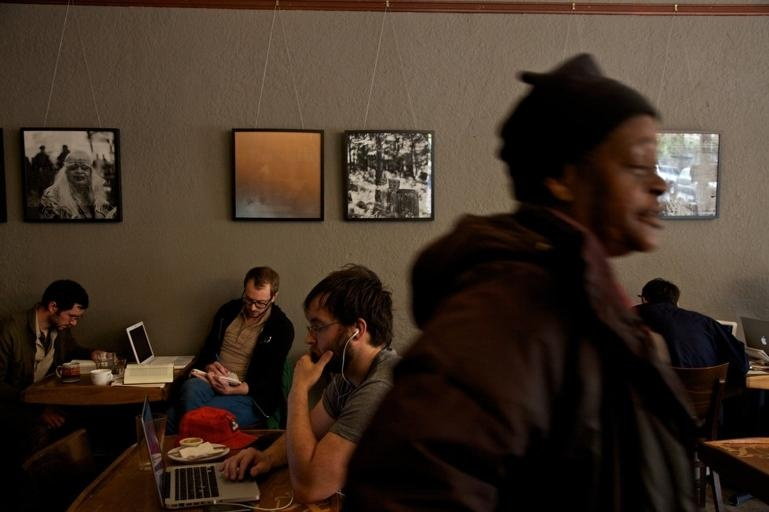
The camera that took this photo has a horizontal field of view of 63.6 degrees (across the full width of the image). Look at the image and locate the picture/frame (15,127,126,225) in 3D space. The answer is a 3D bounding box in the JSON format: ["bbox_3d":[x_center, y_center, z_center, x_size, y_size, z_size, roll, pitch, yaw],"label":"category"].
[{"bbox_3d":[-2.372,-0.607,4.598,0.759,0.715,0.060,-1,-1,-4],"label":"picture/frame"}]

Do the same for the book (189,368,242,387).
[{"bbox_3d":[-1.150,0.829,4.248,0.191,0.055,0.185,14,-4,-26],"label":"book"}]

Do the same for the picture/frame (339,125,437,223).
[{"bbox_3d":[0.004,-0.642,4.694,0.763,0.682,0.035,1,-2,-4],"label":"picture/frame"}]

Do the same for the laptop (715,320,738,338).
[{"bbox_3d":[2.376,0.506,4.314,0.196,0.161,0.019,9,-3,-34],"label":"laptop"}]

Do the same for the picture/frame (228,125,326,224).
[{"bbox_3d":[-0.826,-0.634,4.679,0.757,0.716,0.050,1,-1,-6],"label":"picture/frame"}]

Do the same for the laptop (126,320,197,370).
[{"bbox_3d":[-1.656,0.659,4.484,0.359,0.226,0.382,-1,1,-11],"label":"laptop"}]

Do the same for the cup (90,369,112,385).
[{"bbox_3d":[-1.842,0.771,4.024,0.090,0.071,0.110,6,10,20],"label":"cup"}]

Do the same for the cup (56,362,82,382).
[{"bbox_3d":[-2.079,0.766,4.121,0.177,0.119,0.113,1,2,-19],"label":"cup"}]

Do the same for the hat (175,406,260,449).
[{"bbox_3d":[-0.823,0.837,3.027,0.303,0.104,0.189,7,4,6],"label":"hat"}]

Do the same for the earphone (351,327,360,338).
[{"bbox_3d":[-0.129,0.336,2.736,0.020,0.052,0.016,30,5,8],"label":"earphone"}]

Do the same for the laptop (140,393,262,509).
[{"bbox_3d":[-0.797,0.753,2.673,0.430,0.334,0.561,-3,2,-18],"label":"laptop"}]

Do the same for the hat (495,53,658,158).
[{"bbox_3d":[0.456,-0.351,1.524,0.334,0.240,0.243,-5,8,8],"label":"hat"}]
